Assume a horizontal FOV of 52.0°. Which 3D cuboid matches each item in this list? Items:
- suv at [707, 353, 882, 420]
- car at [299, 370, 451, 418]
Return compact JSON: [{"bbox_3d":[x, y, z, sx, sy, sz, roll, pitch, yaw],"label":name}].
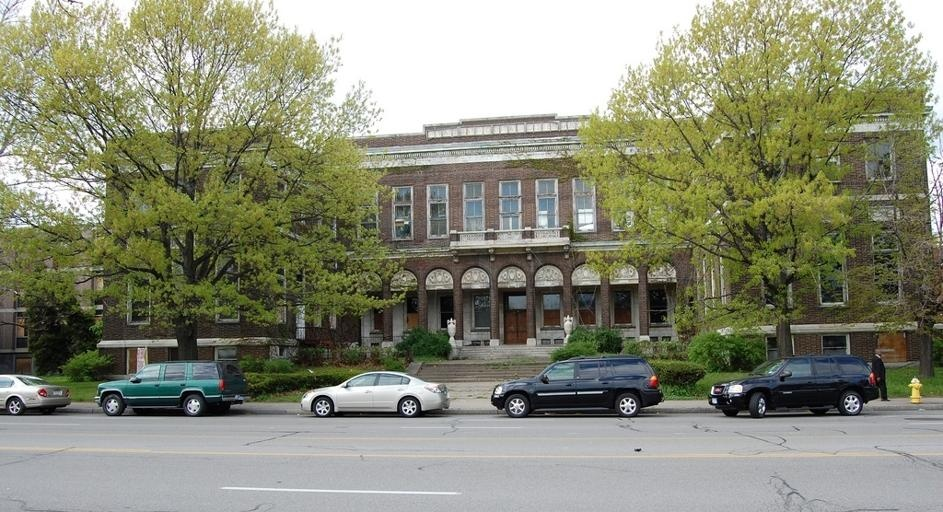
[{"bbox_3d":[15.882,6.371,46.011,8.179,2.849,3.274,0,-3,-6],"label":"suv"},{"bbox_3d":[-4.731,7.091,48.693,6.745,1.819,2.697,2,-10,3],"label":"car"}]
